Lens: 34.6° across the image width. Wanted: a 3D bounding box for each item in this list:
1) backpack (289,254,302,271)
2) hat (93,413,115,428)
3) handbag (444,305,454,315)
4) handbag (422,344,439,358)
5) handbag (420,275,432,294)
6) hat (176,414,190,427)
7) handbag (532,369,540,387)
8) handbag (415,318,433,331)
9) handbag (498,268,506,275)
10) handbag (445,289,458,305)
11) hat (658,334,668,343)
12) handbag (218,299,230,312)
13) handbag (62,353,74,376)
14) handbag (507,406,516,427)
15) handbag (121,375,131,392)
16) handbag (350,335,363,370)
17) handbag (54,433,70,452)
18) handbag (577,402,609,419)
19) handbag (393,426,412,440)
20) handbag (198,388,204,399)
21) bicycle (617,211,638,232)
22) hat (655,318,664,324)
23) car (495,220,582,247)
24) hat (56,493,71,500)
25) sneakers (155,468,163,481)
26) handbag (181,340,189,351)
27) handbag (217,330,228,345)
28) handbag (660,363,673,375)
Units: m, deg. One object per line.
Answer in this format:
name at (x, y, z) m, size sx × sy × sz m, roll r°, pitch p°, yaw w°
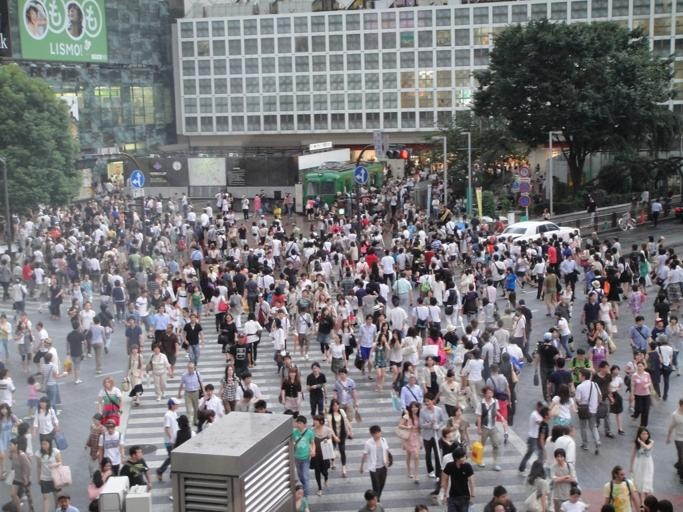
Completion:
backpack at (-1.952, 0.277, 46.139) m, size 0.591 × 0.610 × 0.332 m, roll -2°, pitch 20°, yaw -7°
hat at (-6.996, 4.851, 32.261) m, size 0.633 × 0.289 × 0.257 m, roll -20°, pitch -20°, yaw 30°
handbag at (3.948, 1.963, 39.914) m, size 0.349 × 0.292 × 0.515 m, roll 0°, pitch -4°, yaw 7°
handbag at (2.929, 3.142, 35.745) m, size 0.557 × 0.518 × 1.666 m, roll -2°, pitch 4°, yaw 4°
handbag at (3.255, 1.082, 42.046) m, size 0.385 × 0.667 × 0.644 m, roll 2°, pitch -3°, yaw -1°
hat at (-4.616, 4.774, 31.845) m, size 0.269 × 0.272 × 0.509 m, roll -3°, pitch 4°, yaw -13°
handbag at (6.575, 4.124, 36.913) m, size 0.300 × 0.809 × 0.306 m, roll -3°, pitch 27°, yaw 14°
handbag at (2.870, 2.394, 38.302) m, size 0.446 × 0.338 × 0.449 m, roll 1°, pitch 30°, yaw -13°
handbag at (6.573, 0.644, 44.623) m, size 0.178 × 0.267 × 0.093 m, roll 7°, pitch 4°, yaw 6°
handbag at (4.031, 1.506, 39.905) m, size 0.390 × 0.576 × 0.318 m, roll 5°, pitch 20°, yaw 7°
hat at (10.476, 2.715, 35.650) m, size 0.303 × 0.268 × 0.282 m, roll -2°, pitch 4°, yaw 12°
handbag at (-4.431, 1.869, 41.100) m, size 0.229 × 0.502 × 0.467 m, roll -3°, pitch 2°, yaw 10°
handbag at (-9.500, 3.798, 38.130) m, size 0.424 × 0.481 × 1.102 m, roll -17°, pitch -27°, yaw -26°
handbag at (5.376, 5.026, 34.608) m, size 0.183 × 0.735 × 0.543 m, roll -2°, pitch 4°, yaw 9°
handbag at (-7.155, 4.261, 36.418) m, size 0.365 × 0.692 × 0.684 m, roll 1°, pitch 2°, yaw -6°
handbag at (0.554, 3.345, 37.990) m, size 0.363 × 0.924 × 1.045 m, roll -6°, pitch -21°, yaw 4°
handbag at (-8.252, 5.436, 32.115) m, size 0.339 × 0.526 × 0.436 m, roll -4°, pitch 4°, yaw -15°
handbag at (7.711, 4.711, 33.279) m, size 1.177 × 0.560 × 0.262 m, roll -5°, pitch 5°, yaw -33°
handbag at (1.818, 5.186, 31.994) m, size 0.370 × 0.400 × 0.271 m, roll -2°, pitch 4°, yaw 11°
handbag at (-4.452, 4.359, 34.726) m, size 0.180 × 0.293 × 0.512 m, roll -3°, pitch 4°, yaw -8°
bicycle at (15.688, -1.812, 59.739) m, size 0.642 × 0.835 × 1.328 m, roll 5°, pitch 27°, yaw 34°
hat at (10.636, 2.173, 36.536) m, size 0.217 × 0.214 × 0.178 m, roll -11°, pitch 11°, yaw -3°
car at (9.119, -1.122, 50.699) m, size 3.602 × 1.168 × 1.597 m, roll -12°, pitch 17°, yaw -32°
hat at (-7.491, 6.472, 29.570) m, size 0.322 × 0.166 × 0.369 m, roll 0°, pitch -11°, yaw -8°
sneakers at (-5.457, 6.537, 32.822) m, size 0.144 × 0.367 × 0.128 m, roll -9°, pitch 4°, yaw 11°
handbag at (-5.447, 3.114, 38.279) m, size 0.192 × 0.397 × 0.814 m, roll -3°, pitch 4°, yaw -12°
handbag at (-4.067, 2.807, 37.865) m, size 0.250 × 0.520 × 0.521 m, roll -4°, pitch 5°, yaw -18°
handbag at (10.602, 3.651, 35.628) m, size 0.279 × 0.384 × 0.526 m, roll -1°, pitch 6°, yaw 26°
